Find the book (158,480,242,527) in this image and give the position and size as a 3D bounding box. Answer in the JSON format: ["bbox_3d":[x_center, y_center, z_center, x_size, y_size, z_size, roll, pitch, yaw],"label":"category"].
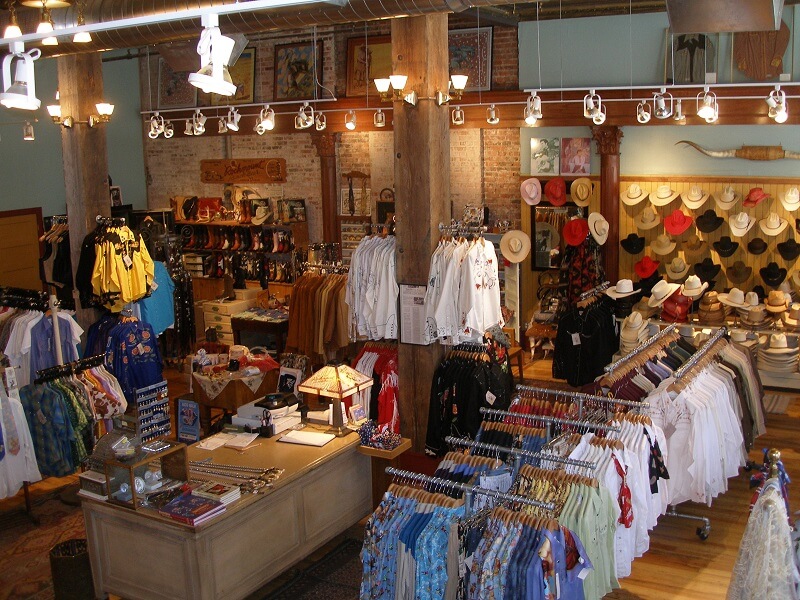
[{"bbox_3d":[-1.457,1.462,4.563,0.253,0.068,0.296,6,13,26],"label":"book"}]

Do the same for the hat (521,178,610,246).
[{"bbox_3d":[2.886,-1.295,9.777,1.098,1.216,0.350,-1,10,26],"label":"hat"}]

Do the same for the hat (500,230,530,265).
[{"bbox_3d":[1.748,-0.784,9.446,0.387,0.529,0.363,-9,11,-40],"label":"hat"}]

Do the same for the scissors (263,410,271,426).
[{"bbox_3d":[-1.202,1.059,5.662,0.062,0.121,0.026,1,-2,7],"label":"scissors"}]

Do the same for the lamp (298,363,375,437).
[{"bbox_3d":[-0.648,0.799,5.908,0.574,0.846,0.600,3,7,36],"label":"lamp"}]

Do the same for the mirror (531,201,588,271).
[{"bbox_3d":[2.616,-1.081,10.154,0.898,1.227,0.074,7,12,35],"label":"mirror"}]
